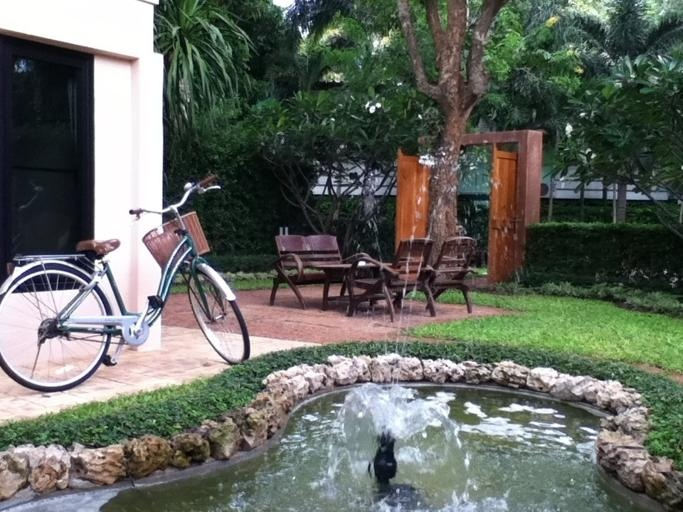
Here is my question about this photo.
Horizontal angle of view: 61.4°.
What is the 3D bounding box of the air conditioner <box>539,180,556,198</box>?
[{"bbox_3d":[9.324,-2.939,25.951,0.507,0.831,3.724,6,10,18],"label":"air conditioner"}]
